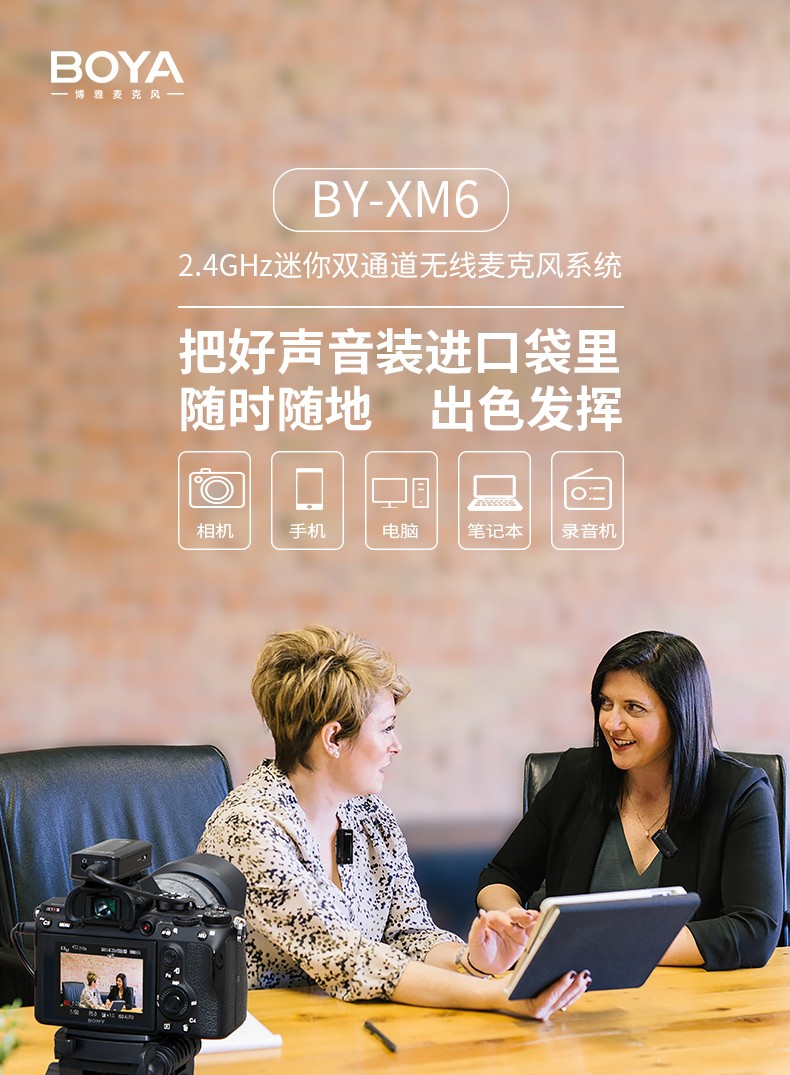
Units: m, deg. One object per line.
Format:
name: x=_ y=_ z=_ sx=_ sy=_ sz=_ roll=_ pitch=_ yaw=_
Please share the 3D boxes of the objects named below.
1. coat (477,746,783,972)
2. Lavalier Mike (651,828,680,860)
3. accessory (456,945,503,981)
coat: x=0.463 y=0.705 z=2.460 sx=0.525 sy=0.516 sz=0.421 roll=-12 pitch=-47 yaw=26
Lavalier Mike: x=0.555 y=0.637 z=2.447 sx=0.043 sy=0.051 sz=0.013 roll=-35 pitch=-22 yaw=8
accessory: x=0.142 y=0.728 z=2.025 sx=0.064 sy=0.054 sz=0.025 roll=-12 pitch=3 yaw=40
